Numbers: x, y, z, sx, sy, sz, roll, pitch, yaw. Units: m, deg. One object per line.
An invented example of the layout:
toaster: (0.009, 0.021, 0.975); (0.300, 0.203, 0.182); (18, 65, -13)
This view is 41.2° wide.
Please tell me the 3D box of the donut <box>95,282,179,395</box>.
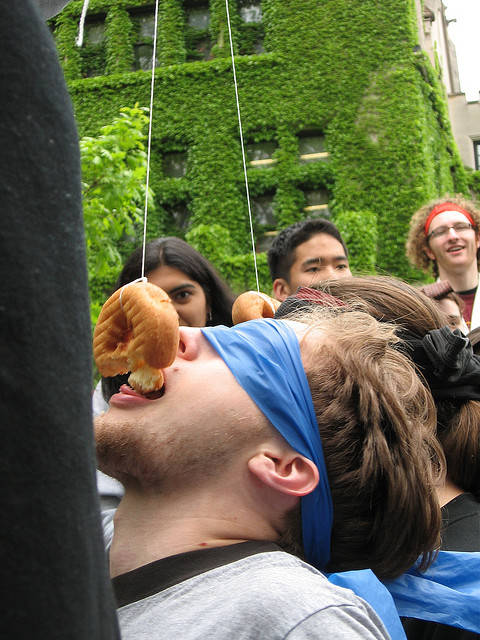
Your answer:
donut: (-0.162, 0.037, 1.033); (0.157, 0.176, 0.111); (-3, -15, 34)
